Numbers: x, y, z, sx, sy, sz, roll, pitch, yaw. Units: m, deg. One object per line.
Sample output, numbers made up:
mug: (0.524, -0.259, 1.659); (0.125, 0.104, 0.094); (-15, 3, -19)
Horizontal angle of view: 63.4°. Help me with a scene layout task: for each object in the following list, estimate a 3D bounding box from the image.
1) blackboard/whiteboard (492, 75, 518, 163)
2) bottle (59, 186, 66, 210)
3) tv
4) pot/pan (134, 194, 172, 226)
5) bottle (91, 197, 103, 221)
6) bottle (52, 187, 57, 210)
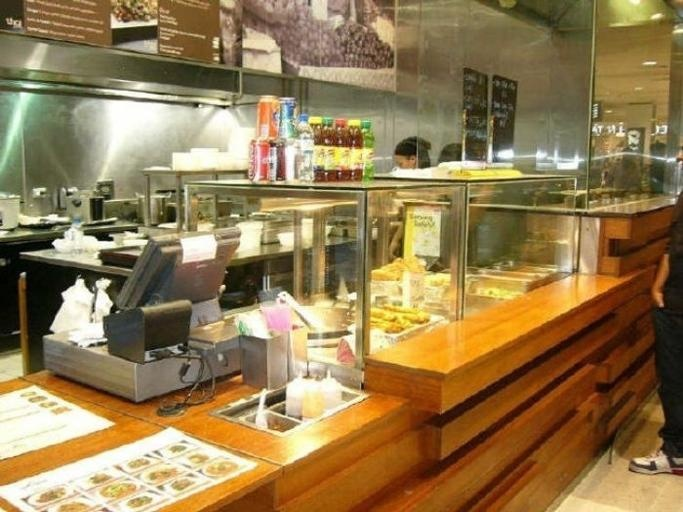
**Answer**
blackboard/whiteboard: (0.987, -0.809, 3.368); (0.103, 0.508, 0.462); (3, 7, 25)
bottle: (-2.900, -0.575, 5.791); (0.077, 0.228, 0.115); (-3, 7, -26)
tv: (-0.662, 0.078, 2.319); (0.270, 0.348, 0.515); (32, 27, 35)
pot/pan: (-1.916, -0.445, 5.701); (0.399, 0.324, 0.203); (2, 13, 3)
bottle: (-2.541, -0.464, 5.795); (0.064, 0.241, 0.133); (6, 9, 43)
bottle: (-2.977, -0.567, 5.788); (0.071, 0.228, 0.031); (-4, 7, -27)
